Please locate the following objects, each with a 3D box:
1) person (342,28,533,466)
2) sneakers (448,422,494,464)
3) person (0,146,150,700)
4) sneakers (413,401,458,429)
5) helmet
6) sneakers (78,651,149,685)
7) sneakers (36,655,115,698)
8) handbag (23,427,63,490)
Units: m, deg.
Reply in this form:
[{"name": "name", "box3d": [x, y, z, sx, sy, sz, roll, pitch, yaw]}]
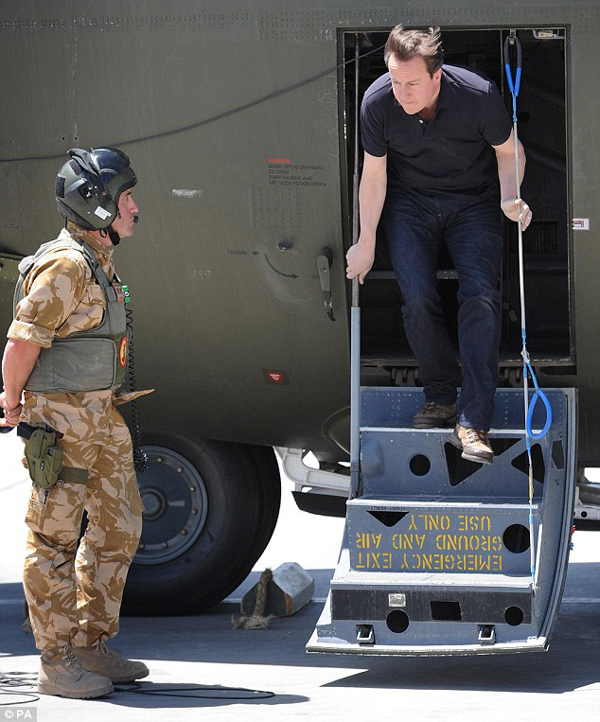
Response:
[{"name": "person", "box3d": [0.508, -0.426, 4.702, 0.649, 1.407, 0.724, 1, 17, 19]}, {"name": "sneakers", "box3d": [0.643, 0.301, 4.525, 0.123, 0.115, 0.193, -4, 15, -2]}, {"name": "person", "box3d": [-0.843, 0.245, 4.481, 0.421, 1.993, 0.782, 0, 17, 17]}, {"name": "sneakers", "box3d": [0.534, 0.215, 4.751, 0.212, 0.089, 0.073, 2, 5, -17]}, {"name": "helmet", "box3d": [-0.766, -0.653, 4.459, 0.340, 0.269, 0.263, -5, 7, -20]}, {"name": "sneakers", "box3d": [-0.705, 1.142, 4.592, 0.315, 0.135, 0.099, 10, 13, -21]}, {"name": "sneakers", "box3d": [-0.832, 1.143, 4.437, 0.301, 0.133, 0.115, 3, 6, 13]}, {"name": "handbag", "box3d": [-0.914, 0.339, 4.309, 0.181, 0.212, 0.076, -20, -23, 37]}]
